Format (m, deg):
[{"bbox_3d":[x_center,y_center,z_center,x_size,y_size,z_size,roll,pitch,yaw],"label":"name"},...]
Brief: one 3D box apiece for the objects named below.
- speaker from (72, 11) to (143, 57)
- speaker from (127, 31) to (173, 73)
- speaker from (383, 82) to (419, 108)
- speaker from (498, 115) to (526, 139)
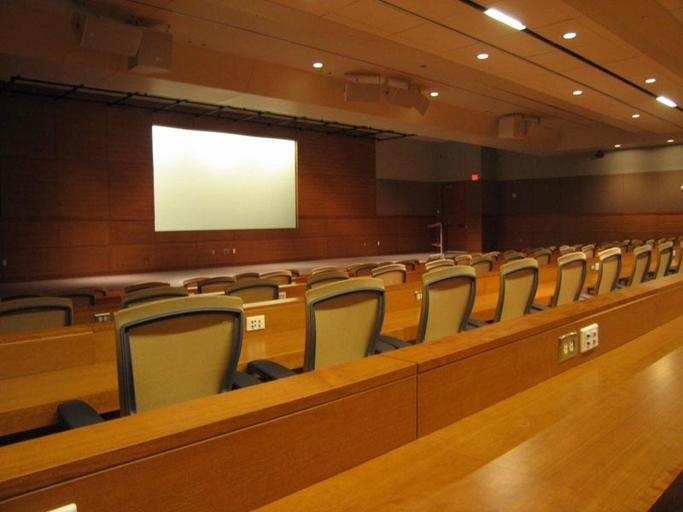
[{"bbox_3d":[-3.116,-2.891,6.214,0.695,0.343,0.498,2,7,-34],"label":"speaker"},{"bbox_3d":[-2.742,-2.884,6.788,0.545,0.562,0.563,2,3,42],"label":"speaker"},{"bbox_3d":[1.214,-3.190,9.227,0.467,0.488,0.889,2,7,43],"label":"speaker"},{"bbox_3d":[4.362,-3.320,11.924,0.306,0.503,0.561,-1,0,-34],"label":"speaker"}]
